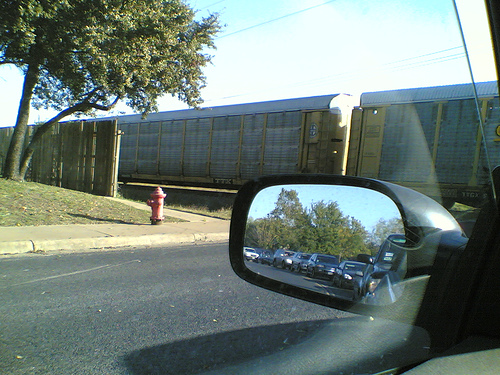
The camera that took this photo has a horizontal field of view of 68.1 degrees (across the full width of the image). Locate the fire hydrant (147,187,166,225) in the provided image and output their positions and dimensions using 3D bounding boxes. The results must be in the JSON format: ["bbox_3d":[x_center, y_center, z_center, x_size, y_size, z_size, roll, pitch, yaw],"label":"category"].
[{"bbox_3d":[-2.378,0.489,9.376,0.401,0.958,0.922,1,2,-13],"label":"fire hydrant"}]
